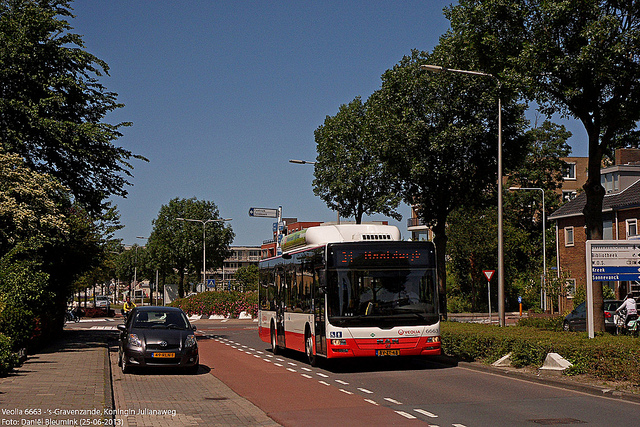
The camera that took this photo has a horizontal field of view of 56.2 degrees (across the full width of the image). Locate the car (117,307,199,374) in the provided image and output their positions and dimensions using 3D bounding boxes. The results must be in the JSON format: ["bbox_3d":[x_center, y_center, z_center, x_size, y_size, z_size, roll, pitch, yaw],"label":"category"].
[{"bbox_3d":[-5.226,3.964,19.231,1.637,1.320,2.811,2,-16,-12],"label":"car"}]

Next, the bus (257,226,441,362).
[{"bbox_3d":[1.047,2.782,21.706,5.601,5.107,5.789,-1,-11,1],"label":"bus"}]

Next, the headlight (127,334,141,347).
[{"bbox_3d":[-5.889,4.034,18.982,0.564,0.396,0.195,-7,-11,29],"label":"headlight"}]

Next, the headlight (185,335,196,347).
[{"bbox_3d":[-4.183,4.106,19.212,0.310,0.225,0.440,1,-8,-19],"label":"headlight"}]

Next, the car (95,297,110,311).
[{"bbox_3d":[-27.293,11.296,74.921,1.305,1.303,2.471,0,-13,-19],"label":"car"}]
